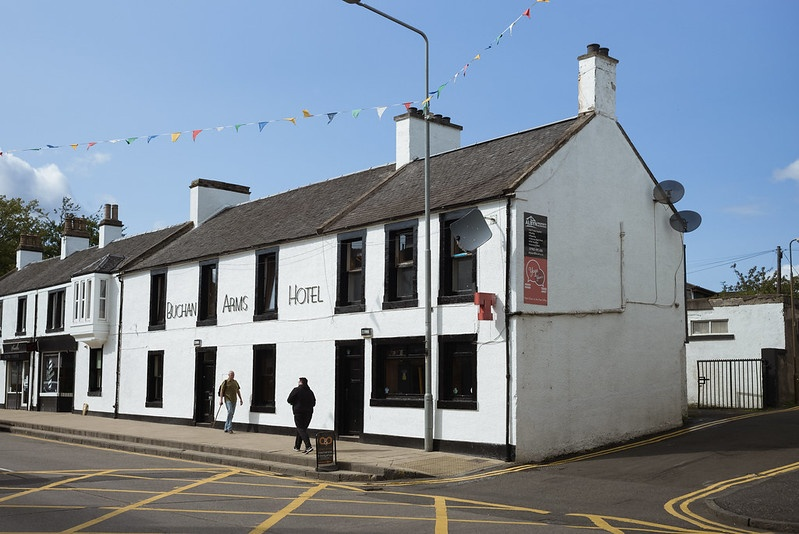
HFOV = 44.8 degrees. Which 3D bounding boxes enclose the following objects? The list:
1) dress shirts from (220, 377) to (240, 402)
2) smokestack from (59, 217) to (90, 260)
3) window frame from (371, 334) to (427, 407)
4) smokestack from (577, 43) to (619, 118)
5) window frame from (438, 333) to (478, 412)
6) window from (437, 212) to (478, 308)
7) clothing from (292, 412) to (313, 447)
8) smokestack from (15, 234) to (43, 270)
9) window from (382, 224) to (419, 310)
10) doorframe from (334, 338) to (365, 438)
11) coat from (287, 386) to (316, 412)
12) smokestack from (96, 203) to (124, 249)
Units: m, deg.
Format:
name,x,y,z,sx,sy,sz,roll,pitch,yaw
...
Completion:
name,x,y,z,sx,sy,sz,roll,pitch,yaw
dress shirts,-6.261,4.690,36.795,0.798,0.827,0.777,10,-23,-38
smokestack,-18.424,-1.315,55.519,1.398,2.890,1.083,6,-19,-35
window frame,0.167,3.518,32.647,1.986,1.905,0.738,0,-5,25
smokestack,6.976,-6.472,34.256,0.855,2.392,1.302,5,-4,-22
window frame,1.909,3.427,31.372,1.343,2.378,0.444,-8,-13,36
window,2.090,-0.330,31.852,1.220,2.872,0.361,-2,4,30
clothing,-3.045,5.274,31.253,0.516,1.169,0.923,1,-10,-6
smokestack,-22.604,-0.807,59.736,1.491,2.250,1.392,3,2,-27
window,0.135,0.003,32.986,1.353,2.843,0.439,-10,-14,43
doorframe,-1.680,4.224,33.939,0.565,3.274,1.179,9,-13,-41
coat,-3.108,4.262,31.306,1.108,1.051,0.712,4,-8,-25
smokestack,-15.436,-1.988,52.477,1.298,2.711,1.310,-1,-13,-12
